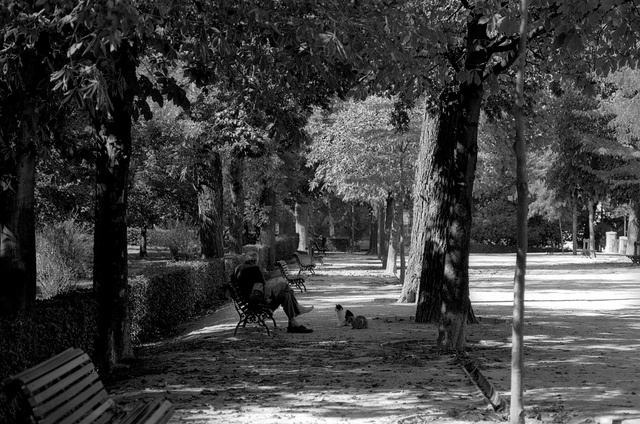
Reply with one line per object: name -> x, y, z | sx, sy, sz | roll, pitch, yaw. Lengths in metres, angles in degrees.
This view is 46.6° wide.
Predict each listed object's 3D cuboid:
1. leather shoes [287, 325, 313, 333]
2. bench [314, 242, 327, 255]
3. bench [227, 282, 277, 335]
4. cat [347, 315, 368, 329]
leather shoes -> -0.469, 2.717, 17.391 | 0.568, 0.247, 0.228 | -1, -2, 7
bench -> 0.080, 2.913, 58.526 | 0.842, 1.292, 0.906 | 2, -13, -21
bench -> -1.642, 2.415, 17.937 | 0.922, 1.092, 1.629 | -2, -2, -4
cat -> 0.918, 2.626, 17.800 | 0.478, 0.304, 0.213 | 2, -2, 36
